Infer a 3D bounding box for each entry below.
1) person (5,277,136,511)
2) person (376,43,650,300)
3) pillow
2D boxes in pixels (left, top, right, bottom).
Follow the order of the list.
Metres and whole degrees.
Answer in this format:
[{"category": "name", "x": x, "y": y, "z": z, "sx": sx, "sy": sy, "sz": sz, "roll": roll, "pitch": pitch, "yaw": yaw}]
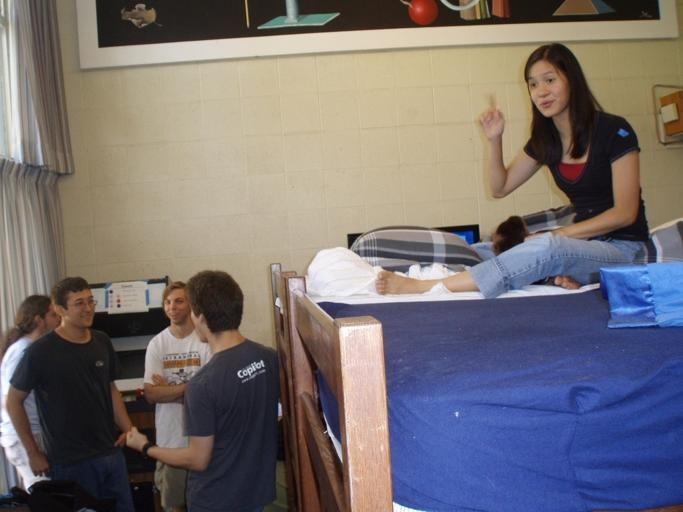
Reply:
[{"category": "person", "x": -1.329, "y": 0.834, "z": 3.002, "sx": 0.539, "sy": 1.029, "sz": 0.287, "roll": -9, "pitch": 8, "yaw": -30}, {"category": "person", "x": 0.744, "y": -0.362, "z": 2.589, "sx": 1.094, "sy": 1.081, "sz": 0.563, "roll": -4, "pitch": 0, "yaw": -7}, {"category": "pillow", "x": 0.354, "y": -0.044, "z": 2.885, "sx": 0.370, "sy": 0.122, "sz": 0.300, "roll": 3, "pitch": 14, "yaw": -8}]
